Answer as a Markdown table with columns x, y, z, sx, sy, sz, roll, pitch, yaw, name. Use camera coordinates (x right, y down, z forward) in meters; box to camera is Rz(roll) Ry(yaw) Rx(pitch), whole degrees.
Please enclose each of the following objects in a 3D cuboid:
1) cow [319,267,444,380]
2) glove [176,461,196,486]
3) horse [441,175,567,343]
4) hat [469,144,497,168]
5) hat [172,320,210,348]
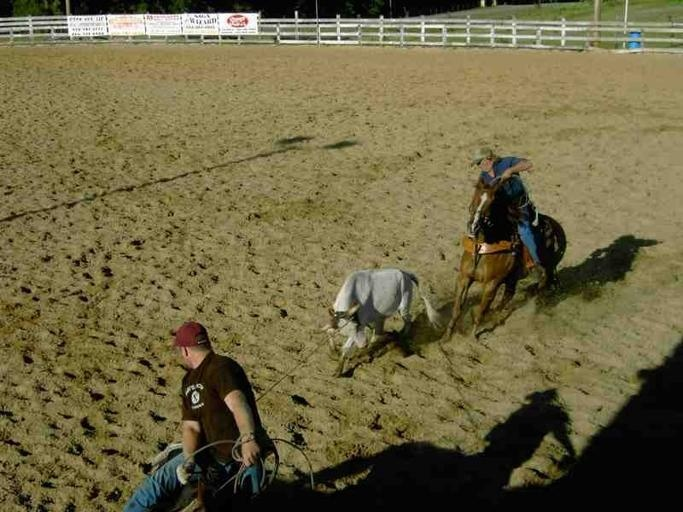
| x | y | z | sx | sy | sz | roll | pitch | yaw | name |
| --- | --- | --- | --- | --- | --- | --- | --- | --- | --- |
| 0.385 | 0.852 | 10.009 | 0.650 | 1.332 | 2.365 | 16 | 18 | 40 | cow |
| -1.589 | 2.210 | 6.909 | 0.080 | 0.218 | 0.160 | 1 | 29 | 21 | glove |
| 2.457 | -0.288 | 10.865 | 1.494 | 2.579 | 2.573 | 20 | 29 | 36 | horse |
| 2.065 | -1.422 | 9.771 | 0.288 | 0.323 | 0.422 | 10 | 25 | 16 | hat |
| -1.616 | 0.851 | 7.125 | 0.267 | 0.236 | 0.393 | -14 | 16 | -37 | hat |
